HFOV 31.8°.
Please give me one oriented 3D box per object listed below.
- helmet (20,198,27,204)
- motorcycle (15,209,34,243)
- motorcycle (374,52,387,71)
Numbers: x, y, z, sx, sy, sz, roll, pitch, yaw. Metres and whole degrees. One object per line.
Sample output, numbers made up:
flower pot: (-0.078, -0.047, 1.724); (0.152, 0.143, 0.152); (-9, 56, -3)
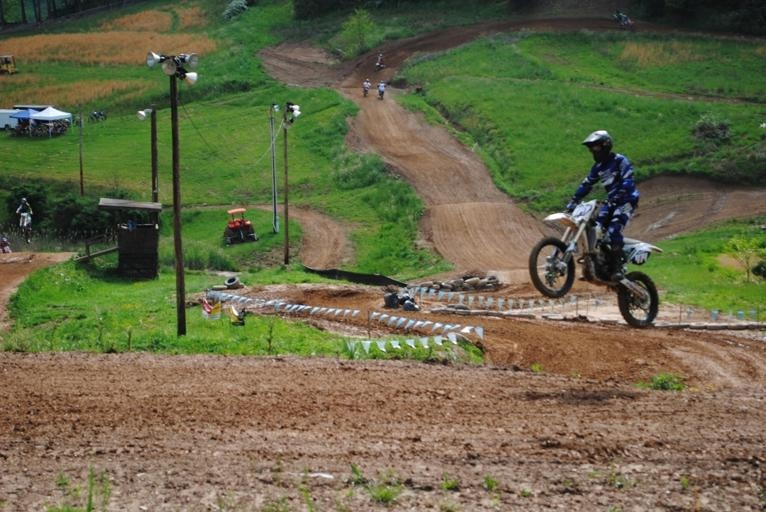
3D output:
helmet: (-31.865, -4.884, 119.933); (0.450, 0.479, 0.692); (-3, 11, -15)
motorcycle: (-31.879, -2.577, 119.346); (1.633, 3.090, 1.972); (-3, -13, 1)
motorcycle: (-0.400, -21.759, 151.775); (1.088, 1.705, 2.813); (0, 11, 0)
